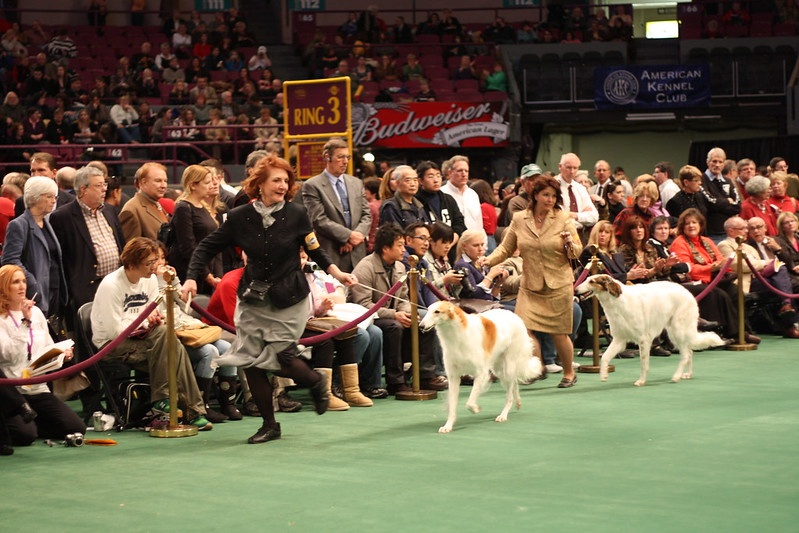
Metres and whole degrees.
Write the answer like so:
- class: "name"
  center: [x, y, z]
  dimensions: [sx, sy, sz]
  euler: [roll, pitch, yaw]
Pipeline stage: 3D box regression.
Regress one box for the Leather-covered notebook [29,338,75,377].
- class: "Leather-covered notebook"
  center: [-3.418, 0.895, 8.342]
  dimensions: [0.367, 0.123, 0.337]
  euler: [-25, -2, 2]
